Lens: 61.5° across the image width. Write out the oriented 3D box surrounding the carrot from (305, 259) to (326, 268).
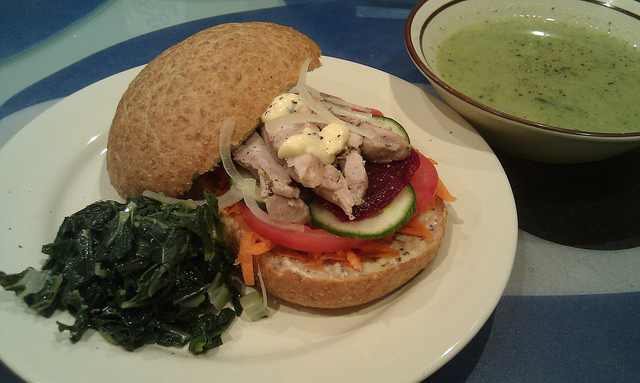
[{"bbox_3d":[-0.044,0.758,5.616,0.237,0.068,0.061,-17,-67,-5],"label":"carrot"}]
